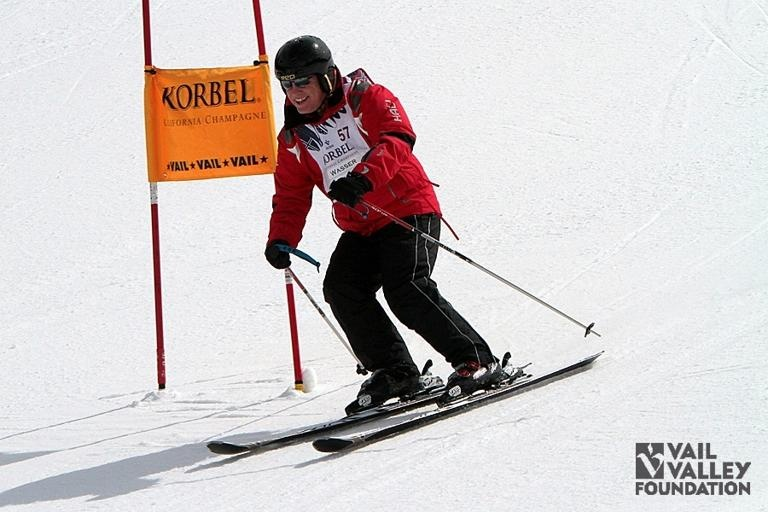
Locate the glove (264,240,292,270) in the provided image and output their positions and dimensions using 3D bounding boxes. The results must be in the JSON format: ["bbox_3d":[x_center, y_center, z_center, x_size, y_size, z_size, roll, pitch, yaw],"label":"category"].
[{"bbox_3d":[-1.072,-0.014,11.152,0.326,0.246,0.128,-2,13,10],"label":"glove"}]

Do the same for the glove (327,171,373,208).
[{"bbox_3d":[-0.322,-0.653,10.667,0.412,0.153,0.437,-41,53,-22],"label":"glove"}]
